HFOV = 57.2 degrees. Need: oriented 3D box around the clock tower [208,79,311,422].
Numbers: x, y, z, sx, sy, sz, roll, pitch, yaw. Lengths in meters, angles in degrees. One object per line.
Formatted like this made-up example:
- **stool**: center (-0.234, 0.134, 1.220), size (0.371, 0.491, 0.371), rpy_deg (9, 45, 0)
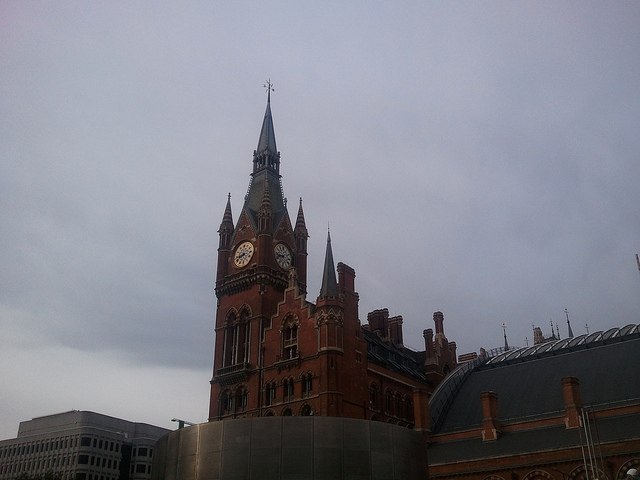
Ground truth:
- **clock tower**: center (-7.811, -2.055, 79.407), size (10.882, 47.462, 11.690), rpy_deg (5, -20, -13)
